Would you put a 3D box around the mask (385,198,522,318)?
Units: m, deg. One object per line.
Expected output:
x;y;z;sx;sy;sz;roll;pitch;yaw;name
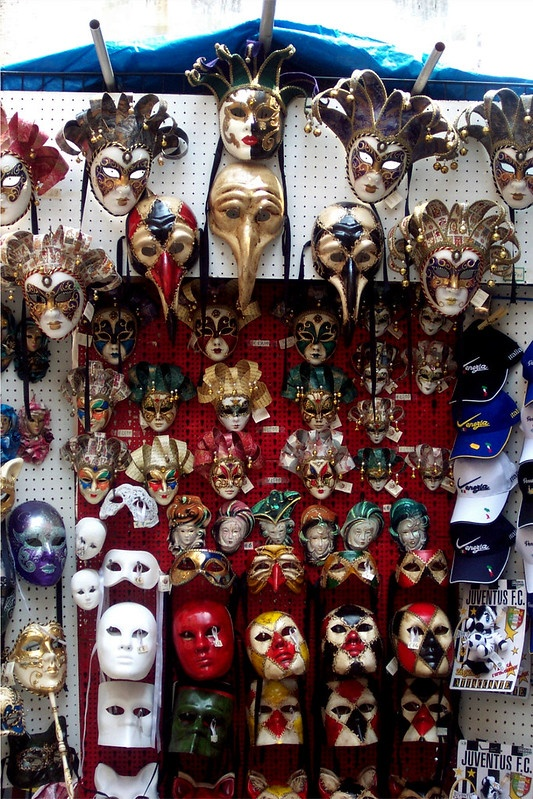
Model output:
0.677;-0.531;2.956;0.429;0.389;0.198;1;5;0;mask

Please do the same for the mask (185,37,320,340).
-0.045;-0.788;2.921;0.439;0.925;0.324;0;3;3;mask

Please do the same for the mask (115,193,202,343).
-0.355;-0.495;2.895;0.245;0.505;0.174;-6;-17;-6;mask

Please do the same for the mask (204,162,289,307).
-0.061;-0.615;2.952;0.272;0.169;0.580;4;-15;-2;mask

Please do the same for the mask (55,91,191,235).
-0.496;-0.852;2.839;0.425;0.387;0.183;-1;10;-20;mask

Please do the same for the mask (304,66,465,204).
0.413;-0.909;2.859;0.504;0.408;0.252;0;3;4;mask
